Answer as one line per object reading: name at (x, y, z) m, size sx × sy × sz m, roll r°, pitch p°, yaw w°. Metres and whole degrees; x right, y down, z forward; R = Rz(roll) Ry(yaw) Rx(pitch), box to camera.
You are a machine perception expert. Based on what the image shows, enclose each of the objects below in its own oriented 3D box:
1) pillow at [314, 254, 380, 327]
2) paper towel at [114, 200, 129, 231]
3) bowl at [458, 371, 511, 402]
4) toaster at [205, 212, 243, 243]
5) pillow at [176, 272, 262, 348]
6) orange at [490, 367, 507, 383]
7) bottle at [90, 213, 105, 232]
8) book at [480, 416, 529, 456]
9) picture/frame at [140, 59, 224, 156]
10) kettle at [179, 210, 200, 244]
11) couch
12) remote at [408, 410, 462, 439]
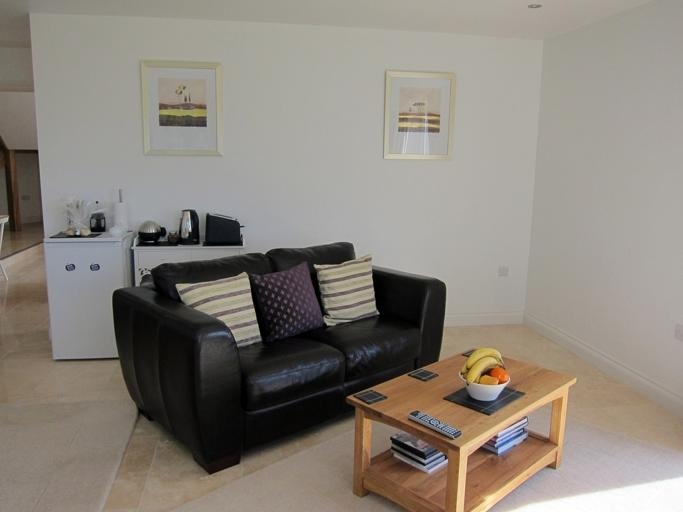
pillow at (0.047, 0.281, 3.987) m, size 0.519 × 0.511 × 0.185 m, roll -11°, pitch 1°, yaw -25°
paper towel at (-1.939, -0.340, 4.520) m, size 0.126 × 0.230 × 0.238 m, roll -6°, pitch 15°, yaw -24°
bowl at (0.782, 0.718, 2.814) m, size 0.165 × 0.068 × 0.165 m, roll -3°, pitch 2°, yaw 0°
toaster at (-1.024, -0.234, 4.489) m, size 0.244 × 0.245 × 0.340 m, roll -5°, pitch 11°, yaw -23°
pillow at (-0.802, 0.399, 3.413) m, size 0.146 × 0.449 × 0.485 m, roll -27°, pitch -12°, yaw 37°
orange at (0.853, 0.648, 2.817) m, size 0.076 × 0.091 × 0.076 m, roll -1°, pitch 12°, yaw 6°
bottle at (-2.136, -0.290, 4.493) m, size 0.123 × 0.160 × 0.104 m, roll -7°, pitch 16°, yaw -28°
book at (0.962, 1.023, 3.036) m, size 0.226 × 0.082 × 0.196 m, roll -22°, pitch 9°, yaw -37°
picture/frame at (-1.450, -1.339, 4.580) m, size 0.835 × 0.981 × 0.064 m, roll -2°, pitch 13°, yaw -8°
kettle at (-1.373, -0.237, 4.573) m, size 0.253 × 0.302 × 0.251 m, roll 0°, pitch 7°, yaw -34°
couch at (-0.384, 0.586, 3.881) m, size 2.197 × 1.212 × 1.194 m, roll -6°, pitch 11°, yaw -42°
remote at (0.470, 0.851, 2.604) m, size 0.190 × 0.028 × 0.103 m, roll 14°, pitch 15°, yaw 41°
